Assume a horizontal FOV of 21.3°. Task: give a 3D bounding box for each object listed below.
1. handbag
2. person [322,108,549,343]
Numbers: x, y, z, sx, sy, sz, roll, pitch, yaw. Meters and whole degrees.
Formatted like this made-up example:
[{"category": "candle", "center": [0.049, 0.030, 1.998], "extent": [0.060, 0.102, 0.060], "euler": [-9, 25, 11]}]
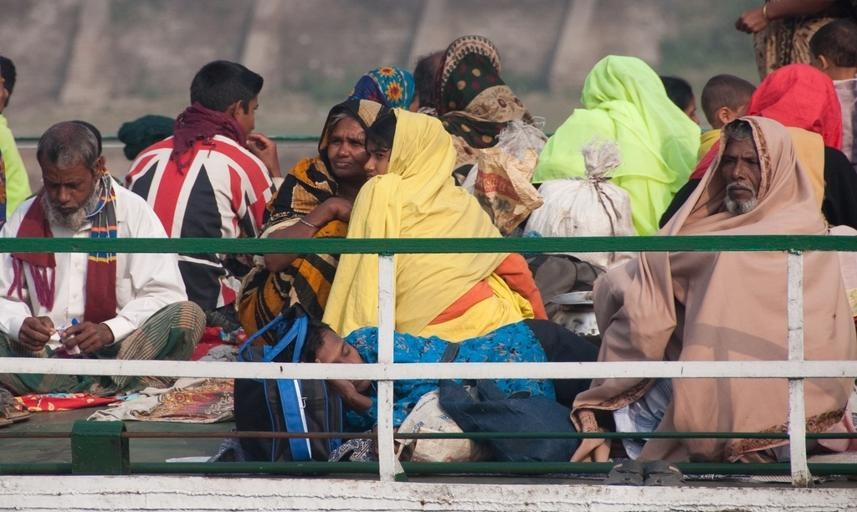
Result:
[{"category": "handbag", "center": [-1.117, 0.973, 18.075], "extent": [0.741, 1.211, 0.613], "euler": [-5, -5, 41]}, {"category": "person", "center": [-0.005, -0.292, 18.769], "extent": [1.768, 1.928, 0.849], "euler": [-1, -4, -7]}]
